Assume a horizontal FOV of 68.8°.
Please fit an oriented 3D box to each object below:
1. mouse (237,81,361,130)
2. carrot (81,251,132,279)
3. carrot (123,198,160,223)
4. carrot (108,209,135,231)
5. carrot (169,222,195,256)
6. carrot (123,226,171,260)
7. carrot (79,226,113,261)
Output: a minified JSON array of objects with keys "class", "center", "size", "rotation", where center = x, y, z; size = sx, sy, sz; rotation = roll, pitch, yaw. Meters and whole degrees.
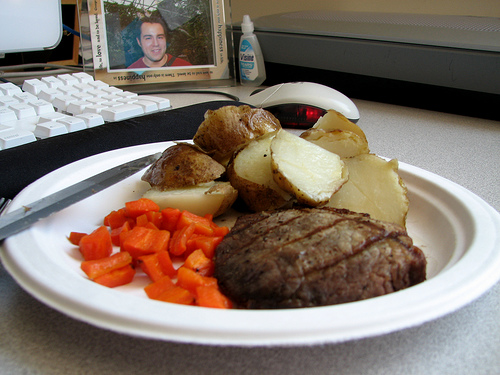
[{"class":"mouse","center":[0.134,-0.236,1.093],"size":[0.351,0.108,0.193],"rotation":[8,29,23]},{"class":"carrot","center":[-0.193,0.103,0.486],"size":[0.058,0.015,0.029],"rotation":[-11,28,-38]},{"class":"carrot","center":[-0.183,0.037,0.607],"size":[0.066,0.023,0.060],"rotation":[3,18,-19]},{"class":"carrot","center":[-0.221,0.054,0.606],"size":[0.036,0.033,0.009],"rotation":[-28,-6,-12]},{"class":"carrot","center":[-0.100,0.078,0.554],"size":[0.025,0.011,0.047],"rotation":[6,47,32]},{"class":"carrot","center":[-0.151,0.079,0.534],"size":[0.059,0.028,0.041],"rotation":[7,33,-2]},{"class":"carrot","center":[-0.221,0.083,0.521],"size":[0.047,0.044,0.047],"rotation":[-12,17,-31]}]
